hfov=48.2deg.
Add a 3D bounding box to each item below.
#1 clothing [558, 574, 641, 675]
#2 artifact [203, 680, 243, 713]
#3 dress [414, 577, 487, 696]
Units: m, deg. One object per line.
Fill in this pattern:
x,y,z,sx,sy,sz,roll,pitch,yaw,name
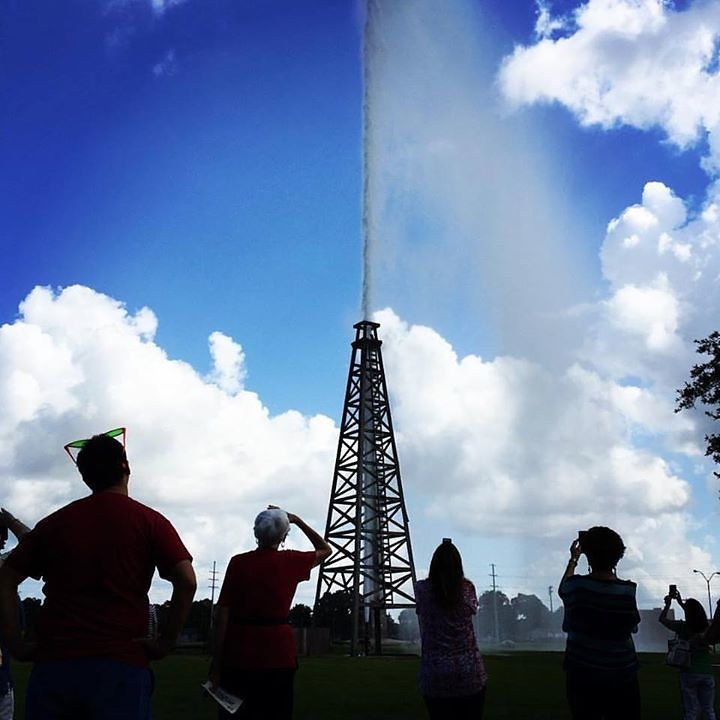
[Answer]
1.951,2.060,6.495,0.551,0.797,0.400,-1,8,17,clothing
-0.992,2.468,5.815,0.260,0.089,0.193,4,4,29,artifact
0.661,2.044,5.925,0.506,0.823,0.454,0,-22,5,dress
